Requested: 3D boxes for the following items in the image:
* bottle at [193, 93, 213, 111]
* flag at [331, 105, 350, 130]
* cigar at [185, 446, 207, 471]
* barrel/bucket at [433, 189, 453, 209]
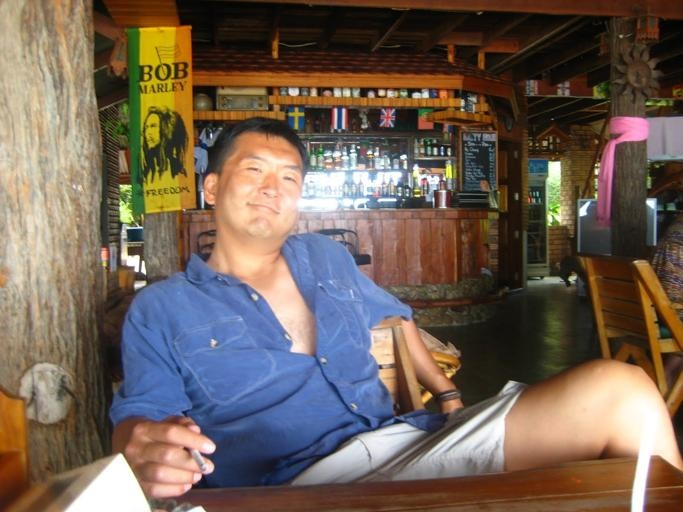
[{"bbox_3d":[-1.726,-1.952,6.775,0.225,0.179,0.222,0,17,0],"label":"bottle"},{"bbox_3d":[-0.028,-1.919,7.372,0.347,0.436,0.021,0,6,-4],"label":"flag"},{"bbox_3d":[-0.308,0.429,1.133,0.018,0.017,0.081,-33,52,-18],"label":"cigar"},{"bbox_3d":[1.380,-0.761,7.139,0.269,0.250,0.261,-1,2,0],"label":"barrel/bucket"}]
